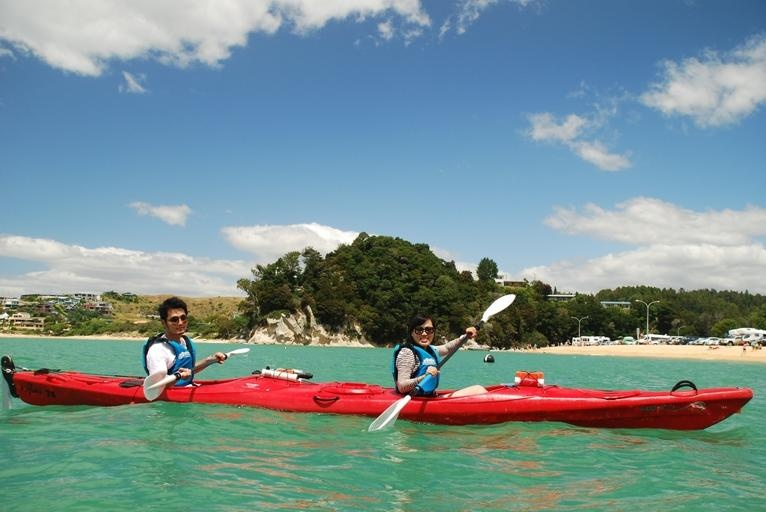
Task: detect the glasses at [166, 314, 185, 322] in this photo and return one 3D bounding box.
[{"bbox_3d":[-3.593,1.130,9.350,0.305,0.136,0.145,8,-11,-40],"label":"glasses"}]
